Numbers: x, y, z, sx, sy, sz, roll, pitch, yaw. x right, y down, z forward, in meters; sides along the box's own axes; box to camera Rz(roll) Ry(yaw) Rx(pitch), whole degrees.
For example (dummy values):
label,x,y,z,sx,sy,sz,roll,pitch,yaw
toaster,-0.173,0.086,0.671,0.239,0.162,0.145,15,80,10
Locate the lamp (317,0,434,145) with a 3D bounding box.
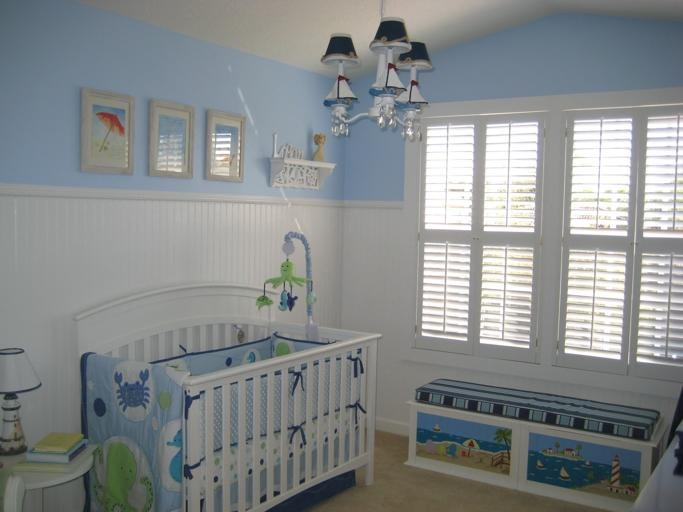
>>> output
label,x,y,z,sx,sy,sz,roll,pitch,yaw
lamp,0.201,-0.975,2.834,0.519,0.812,0.790,1,7,17
